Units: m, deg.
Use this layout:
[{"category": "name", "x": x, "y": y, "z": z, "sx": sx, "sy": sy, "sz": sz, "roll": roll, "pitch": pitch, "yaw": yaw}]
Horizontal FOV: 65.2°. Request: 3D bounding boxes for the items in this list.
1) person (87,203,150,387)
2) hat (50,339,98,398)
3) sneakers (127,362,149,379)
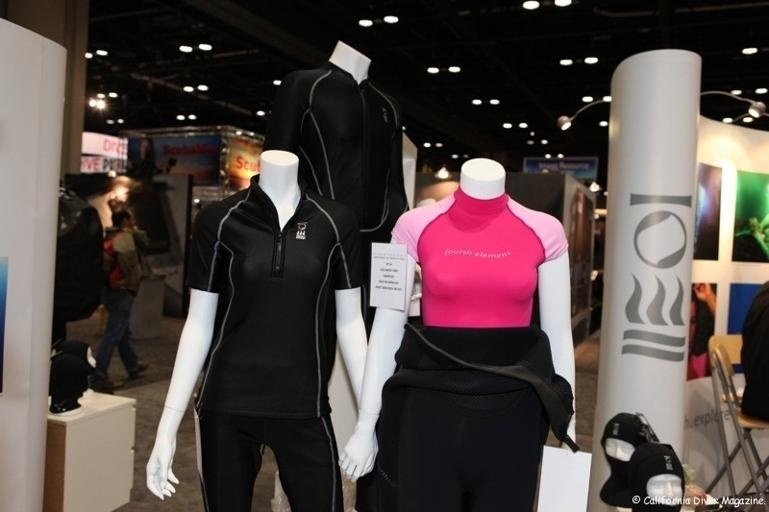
[{"category": "person", "x": -2.917, "y": 0.577, "z": 6.606, "sx": 0.517, "sy": 1.780, "sz": 0.389, "roll": 1, "pitch": 4, "yaw": -25}, {"category": "hat", "x": -2.033, "y": 0.763, "z": 4.066, "sx": 0.257, "sy": 0.377, "sz": 0.359, "roll": 0, "pitch": -6, "yaw": 16}, {"category": "sneakers", "x": -2.825, "y": 1.322, "z": 6.877, "sx": 0.075, "sy": 0.105, "sz": 0.239, "roll": 5, "pitch": 17, "yaw": 16}]
